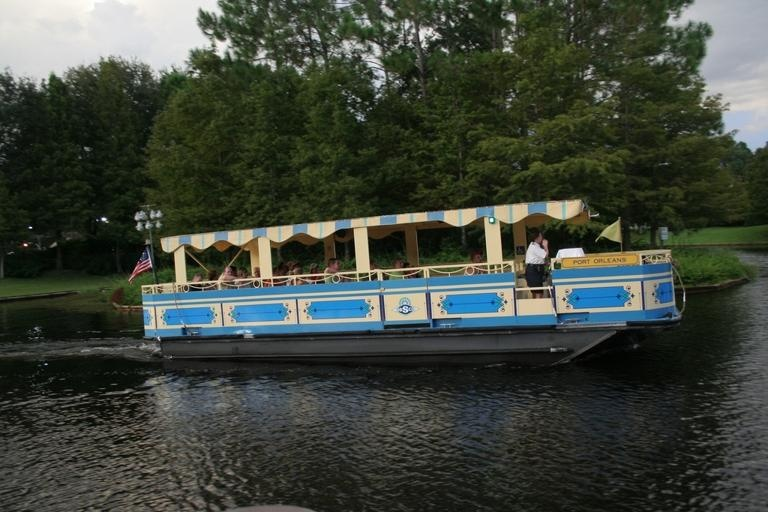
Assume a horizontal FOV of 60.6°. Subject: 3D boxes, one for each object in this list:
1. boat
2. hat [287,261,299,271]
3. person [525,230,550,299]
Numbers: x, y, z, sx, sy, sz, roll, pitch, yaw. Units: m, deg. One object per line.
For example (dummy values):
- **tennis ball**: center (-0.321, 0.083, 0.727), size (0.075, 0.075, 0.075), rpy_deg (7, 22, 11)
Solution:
- **boat**: center (2.450, 1.306, 29.022), size (29.552, 5.779, 8.014), rpy_deg (-6, -2, 40)
- **hat**: center (-3.978, 0.482, 28.680), size (0.437, 0.131, 0.421), rpy_deg (-7, 15, -28)
- **person**: center (5.674, 0.344, 24.445), size (0.878, 2.439, 1.385), rpy_deg (-7, -5, 10)
